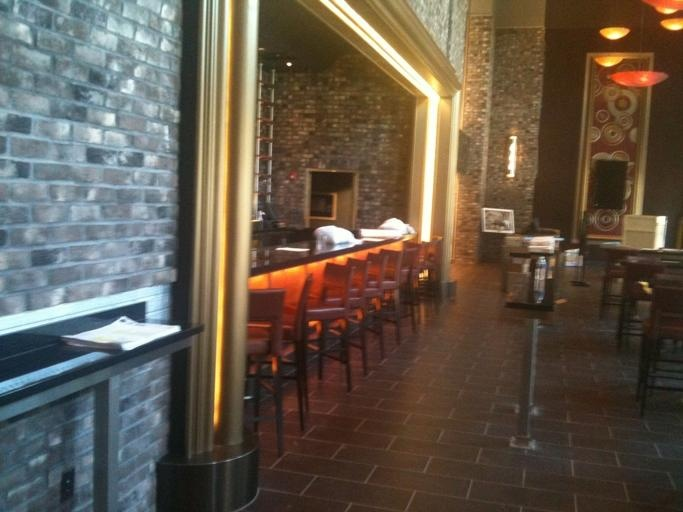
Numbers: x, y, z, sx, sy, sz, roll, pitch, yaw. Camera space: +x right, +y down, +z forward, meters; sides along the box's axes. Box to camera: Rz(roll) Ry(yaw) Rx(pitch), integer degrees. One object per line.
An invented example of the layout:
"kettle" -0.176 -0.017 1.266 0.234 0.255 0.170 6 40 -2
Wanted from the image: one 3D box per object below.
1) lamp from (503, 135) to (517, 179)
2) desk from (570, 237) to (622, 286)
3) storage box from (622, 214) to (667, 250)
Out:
"lamp" 4.254 -2.455 13.843 0.278 1.065 0.134 4 10 10
"desk" 4.922 0.107 10.816 1.400 0.725 1.235 1 0 12
"storage box" 3.906 -0.298 7.217 0.707 0.533 0.477 2 2 23
